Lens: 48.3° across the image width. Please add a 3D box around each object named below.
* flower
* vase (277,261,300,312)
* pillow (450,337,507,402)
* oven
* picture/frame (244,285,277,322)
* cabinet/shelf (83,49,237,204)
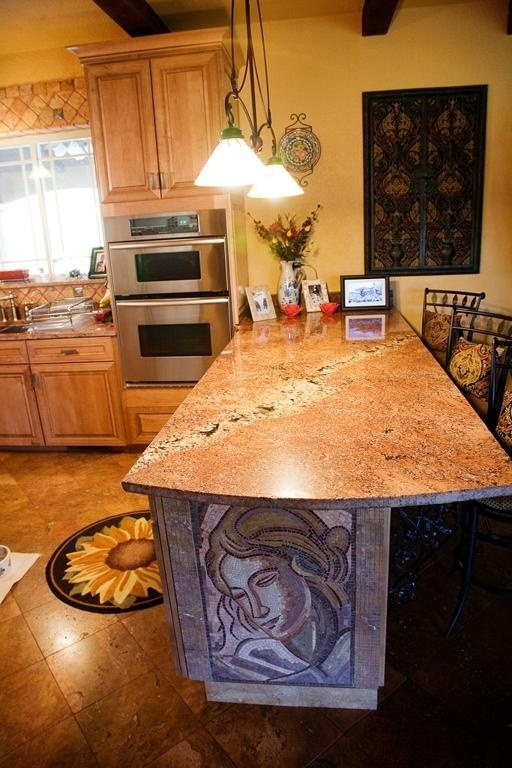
[{"bbox_3d":[0.154,-0.805,3.372,0.412,0.392,0.412,-2,7,-8],"label":"flower"},{"bbox_3d":[0.183,-0.556,3.237,0.127,0.270,0.127,-3,19,3],"label":"vase"},{"bbox_3d":[0.832,-0.051,2.148,0.101,0.211,0.263,-2,17,-11],"label":"pillow"},{"bbox_3d":[-0.489,-0.560,3.496,0.779,0.947,0.746,1,18,12],"label":"oven"},{"bbox_3d":[0.015,-0.442,3.200,0.010,0.226,0.231,-5,14,42],"label":"picture/frame"},{"bbox_3d":[-0.600,-1.407,3.124,0.810,0.784,0.395,-18,37,-26],"label":"cabinet/shelf"}]
